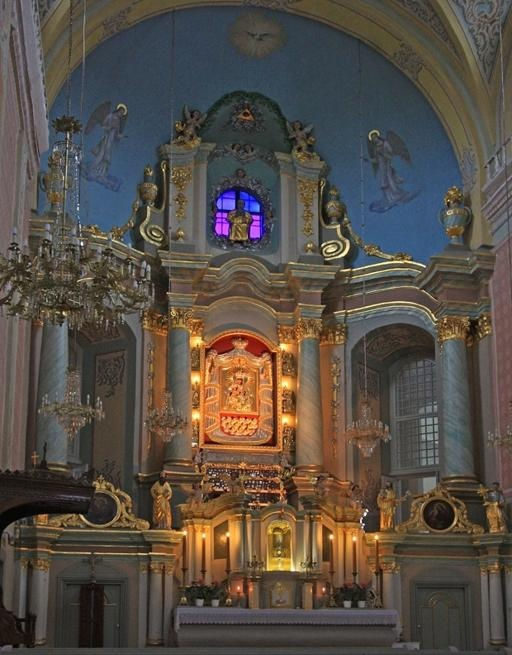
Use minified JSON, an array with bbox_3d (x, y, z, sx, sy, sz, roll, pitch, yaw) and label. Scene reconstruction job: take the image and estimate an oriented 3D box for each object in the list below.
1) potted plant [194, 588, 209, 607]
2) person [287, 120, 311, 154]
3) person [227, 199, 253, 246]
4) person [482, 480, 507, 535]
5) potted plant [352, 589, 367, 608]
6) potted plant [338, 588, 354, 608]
[{"bbox_3d":[-0.841,3.990,23.913,0.177,0.293,0.165,11,-23,-28],"label":"potted plant"},{"bbox_3d":[0.815,-3.656,30.562,0.581,0.707,0.215,-8,9,-17],"label":"person"},{"bbox_3d":[-0.334,-2.047,30.531,0.444,0.850,0.233,3,-23,-2],"label":"person"},{"bbox_3d":[3.821,2.941,25.774,0.370,0.873,0.688,-3,-20,8],"label":"person"},{"bbox_3d":[1.579,4.080,24.297,0.246,0.330,0.136,10,-23,-27],"label":"potted plant"},{"bbox_3d":[1.359,4.072,24.320,0.196,0.387,0.375,0,-20,-1],"label":"potted plant"}]
